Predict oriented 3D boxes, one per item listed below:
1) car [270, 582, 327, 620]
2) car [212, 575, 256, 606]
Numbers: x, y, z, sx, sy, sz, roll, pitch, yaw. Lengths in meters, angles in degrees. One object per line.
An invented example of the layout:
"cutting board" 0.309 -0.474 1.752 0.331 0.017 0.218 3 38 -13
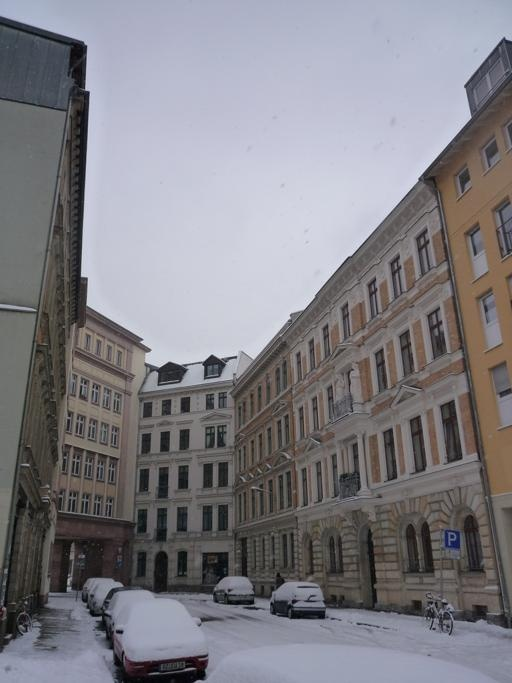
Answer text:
"car" 1.832 11.377 21.401 1.541 1.281 2.707 10 -36 -11
"car" -1.419 15.136 28.960 1.437 1.289 2.741 6 -28 -10
